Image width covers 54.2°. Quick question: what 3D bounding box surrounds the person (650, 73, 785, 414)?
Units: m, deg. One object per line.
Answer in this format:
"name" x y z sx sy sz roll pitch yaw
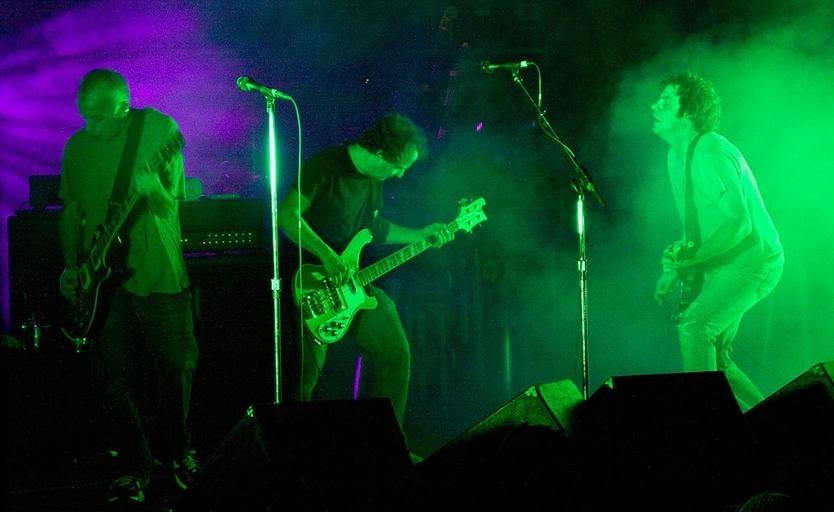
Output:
"person" 2.321 -0.142 6.383 0.911 2.578 0.365 -3 -7 14

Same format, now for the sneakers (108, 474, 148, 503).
"sneakers" -1.969 1.583 5.565 0.207 0.153 0.157 2 -10 23

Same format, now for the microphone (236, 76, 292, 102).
"microphone" -1.005 -1.128 5.457 0.289 0.165 0.343 -4 -7 23

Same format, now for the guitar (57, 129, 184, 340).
"guitar" -2.192 -0.122 5.694 0.558 1.449 0.187 -3 -7 12
